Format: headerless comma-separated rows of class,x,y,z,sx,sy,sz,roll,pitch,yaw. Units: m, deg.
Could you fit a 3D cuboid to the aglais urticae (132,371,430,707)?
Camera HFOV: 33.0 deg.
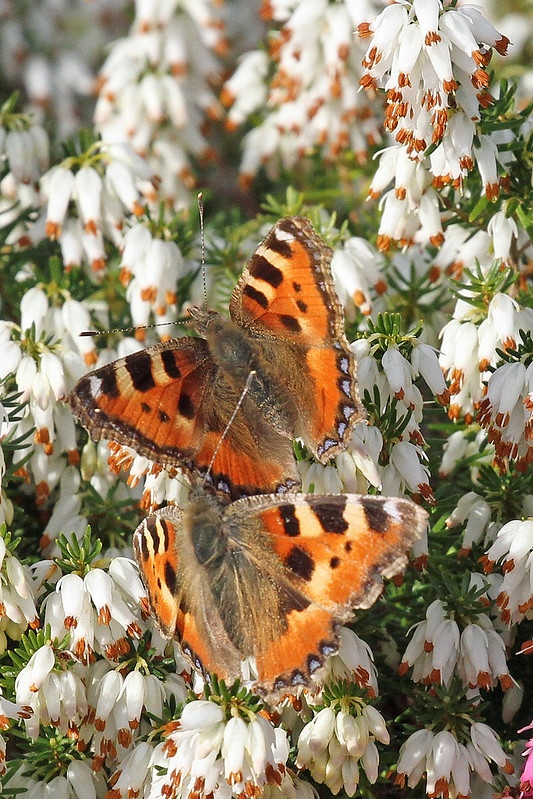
aglais urticae,0.072,0.364,2.078,0.307,0.630,0.446,-10,89,-40
